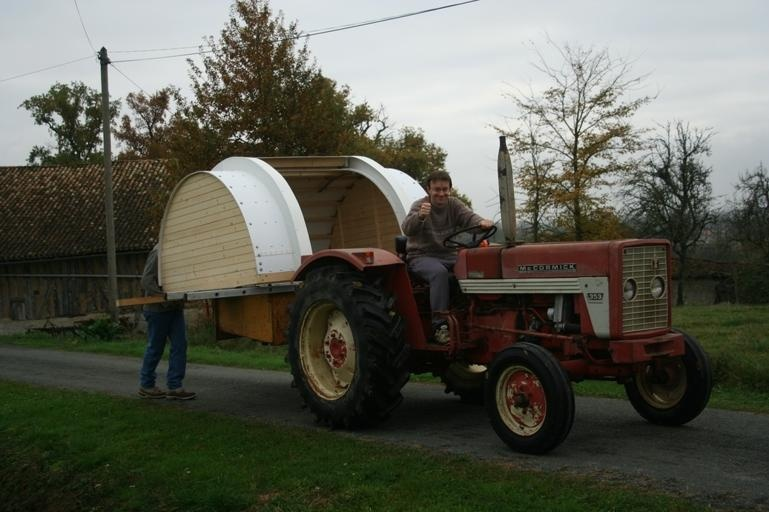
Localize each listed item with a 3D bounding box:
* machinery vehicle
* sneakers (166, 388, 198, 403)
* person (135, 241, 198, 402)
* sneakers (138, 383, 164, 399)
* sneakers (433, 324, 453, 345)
[{"bbox_3d":[1.312,0.528,9.185,3.315,3.515,4.862,2,-6,-38],"label":"machinery vehicle"},{"bbox_3d":[-3.168,2.155,10.589,0.467,0.235,0.188,1,-1,-13],"label":"sneakers"},{"bbox_3d":[-3.544,1.195,10.793,0.815,2.204,1.168,-4,7,-21],"label":"person"},{"bbox_3d":[-3.637,2.099,10.598,0.415,0.209,0.168,0,-5,5],"label":"sneakers"},{"bbox_3d":[0.724,0.977,8.509,0.177,0.252,0.070,-1,-1,35],"label":"sneakers"}]
